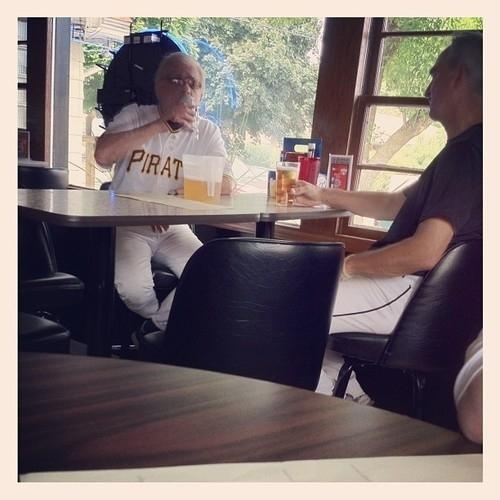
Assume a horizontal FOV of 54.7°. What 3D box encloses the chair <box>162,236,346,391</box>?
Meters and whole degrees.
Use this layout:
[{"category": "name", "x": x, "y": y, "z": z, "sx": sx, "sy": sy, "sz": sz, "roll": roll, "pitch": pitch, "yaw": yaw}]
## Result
[{"category": "chair", "x": 0.026, "y": 0.109, "z": 0.929, "sx": 0.248, "sy": 0.375, "sz": 0.284, "roll": 9, "pitch": -10, "yaw": -5}]
